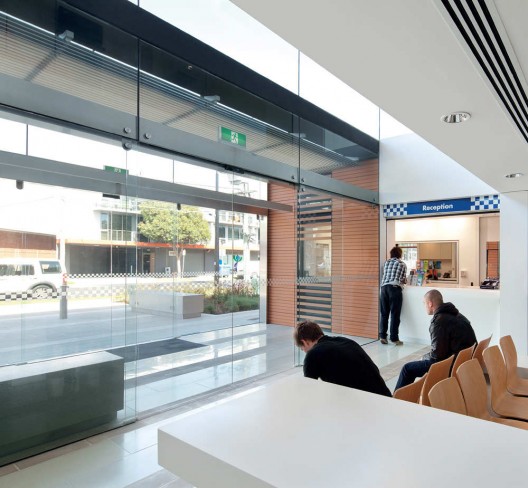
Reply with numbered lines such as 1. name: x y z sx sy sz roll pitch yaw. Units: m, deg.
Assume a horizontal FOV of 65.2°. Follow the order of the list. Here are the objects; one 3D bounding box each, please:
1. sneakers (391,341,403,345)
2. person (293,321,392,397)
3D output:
1. sneakers: 2.458 1.834 7.585 0.163 0.078 0.071 0 0 -16
2. person: 0.522 0.839 2.907 0.688 0.496 0.453 -1 -2 17
